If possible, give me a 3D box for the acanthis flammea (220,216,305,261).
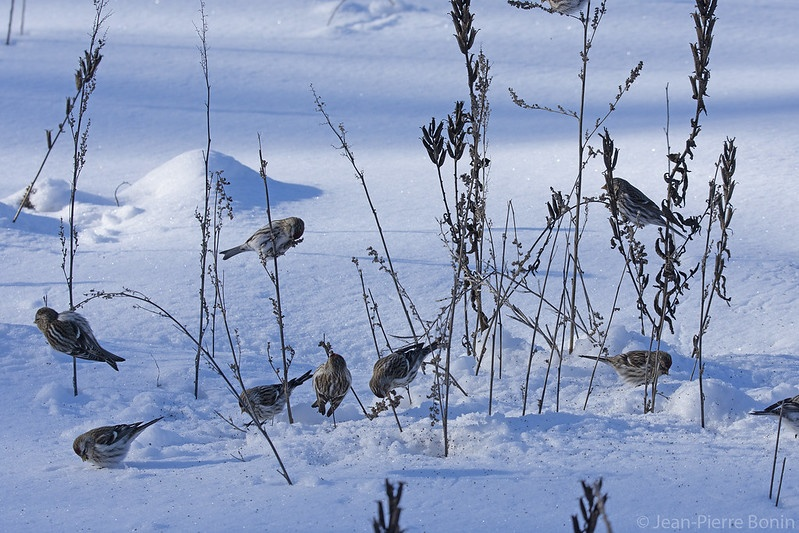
[{"bbox_3d":[-2.049,-0.363,16.367,1.367,0.556,0.441,-12,-27,22],"label":"acanthis flammea"}]

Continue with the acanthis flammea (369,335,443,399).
[{"bbox_3d":[0.089,1.368,14.628,0.339,1.031,0.416,48,13,9],"label":"acanthis flammea"}]

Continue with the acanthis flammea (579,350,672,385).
[{"bbox_3d":[3.005,1.320,14.681,1.319,0.510,0.364,5,16,34],"label":"acanthis flammea"}]

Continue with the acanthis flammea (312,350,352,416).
[{"bbox_3d":[-0.906,1.526,14.419,0.367,0.944,0.458,-10,13,-38],"label":"acanthis flammea"}]
